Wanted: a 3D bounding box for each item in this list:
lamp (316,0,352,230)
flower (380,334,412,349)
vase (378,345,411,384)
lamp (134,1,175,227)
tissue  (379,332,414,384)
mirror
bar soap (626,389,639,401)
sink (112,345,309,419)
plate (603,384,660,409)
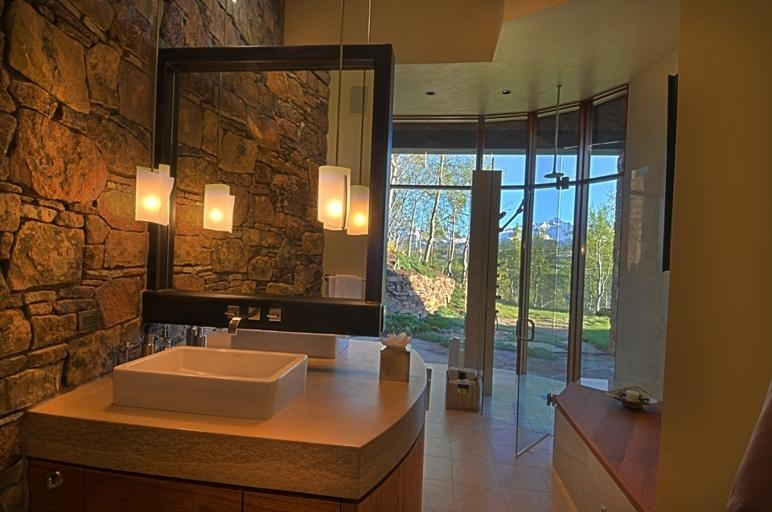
[{"bbox_3d":[-0.299,-0.786,3.021,0.181,1.297,0.298,1,5,-13],"label":"lamp"},{"bbox_3d":[0.032,0.479,3.006,0.133,0.058,0.125,-4,-8,28],"label":"flower"},{"bbox_3d":[0.043,0.610,3.037,0.180,0.179,0.182,1,-1,23],"label":"vase"},{"bbox_3d":[-1.280,-0.790,2.920,0.184,1.273,0.333,2,5,-3],"label":"lamp"},{"bbox_3d":[0.052,0.571,3.054,0.232,0.351,0.225,1,-9,3],"label":"tissue "},{"bbox_3d":[-0.715,-0.377,3.069,1.677,1.930,0.247,2,1,8],"label":"mirror"},{"bbox_3d":[1.802,1.018,3.898,0.093,0.070,0.139,4,5,29],"label":"bar soap"},{"bbox_3d":[-0.863,0.623,2.684,0.843,0.206,0.445,2,4,5],"label":"sink"},{"bbox_3d":[1.838,1.039,3.994,0.290,0.121,0.288,0,4,-20],"label":"plate"}]
